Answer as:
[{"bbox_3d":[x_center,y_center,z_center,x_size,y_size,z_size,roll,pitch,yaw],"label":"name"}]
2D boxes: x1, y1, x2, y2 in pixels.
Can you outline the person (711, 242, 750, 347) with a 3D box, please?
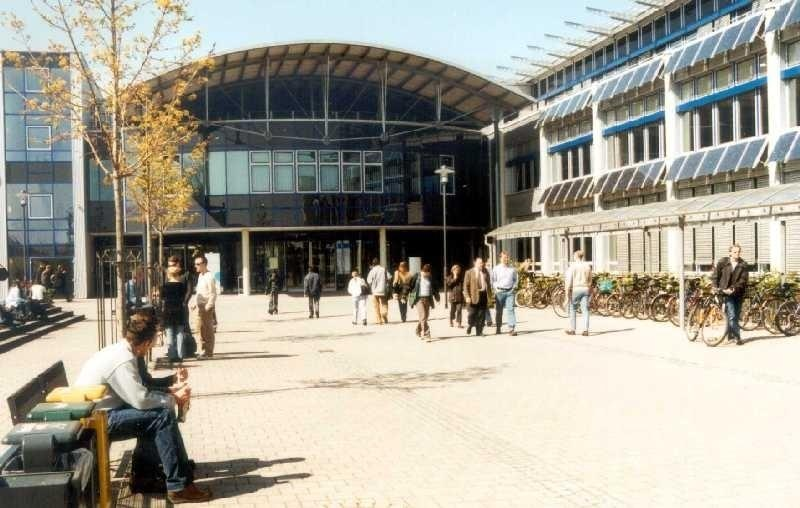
[{"bbox_3d":[8.542,1.091,24.279,0.847,2.410,0.528,-1,0,16],"label":"person"}]
